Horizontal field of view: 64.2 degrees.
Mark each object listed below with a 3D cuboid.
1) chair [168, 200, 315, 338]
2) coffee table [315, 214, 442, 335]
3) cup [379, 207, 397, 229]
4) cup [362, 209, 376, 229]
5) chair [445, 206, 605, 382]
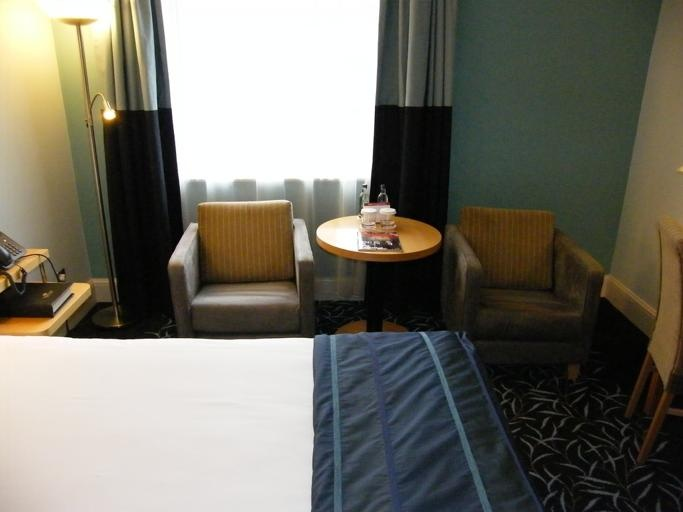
[{"bbox_3d":[-0.656,0.120,4.019,0.886,0.986,0.977,-1,13,-4],"label":"chair"},{"bbox_3d":[0.286,0.238,3.996,0.848,0.799,0.889,13,32,21],"label":"coffee table"},{"bbox_3d":[0.326,-0.287,3.982,0.136,0.138,0.140,-2,14,0],"label":"cup"},{"bbox_3d":[0.194,-0.274,3.907,0.121,0.134,0.126,0,15,0],"label":"cup"},{"bbox_3d":[1.103,0.200,4.066,1.030,1.234,1.108,1,13,4],"label":"chair"}]
